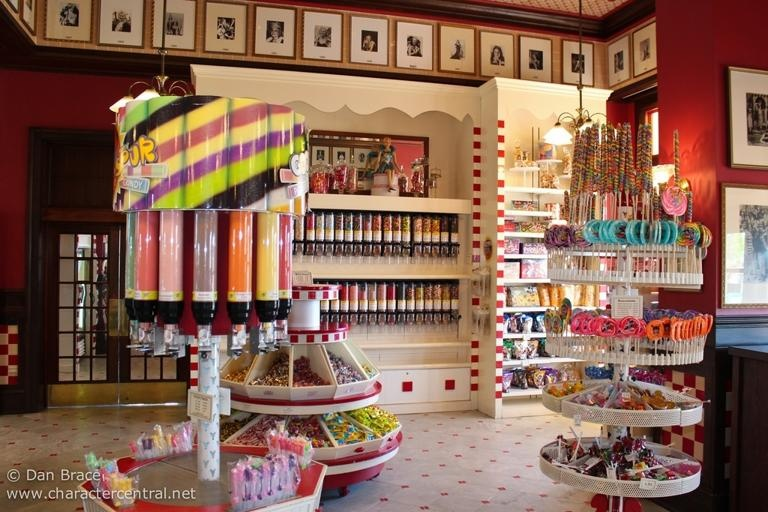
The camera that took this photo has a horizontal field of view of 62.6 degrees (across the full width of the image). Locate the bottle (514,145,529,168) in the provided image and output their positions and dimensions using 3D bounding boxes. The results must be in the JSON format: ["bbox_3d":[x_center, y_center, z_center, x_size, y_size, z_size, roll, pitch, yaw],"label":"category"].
[{"bbox_3d":[1.920,-1.371,8.669,0.191,0.287,0.229,1,5,6],"label":"bottle"}]

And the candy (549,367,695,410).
[{"bbox_3d":[2.184,1.171,5.594,0.761,0.298,0.747,-1,-2,-4],"label":"candy"}]

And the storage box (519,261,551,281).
[{"bbox_3d":[2.064,0.175,8.547,0.457,0.311,0.246,1,3,-2],"label":"storage box"}]

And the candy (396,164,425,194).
[{"bbox_3d":[0.357,-1.036,8.603,0.469,0.458,0.314,2,-4,-8],"label":"candy"}]

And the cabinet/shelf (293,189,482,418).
[{"bbox_3d":[0.032,0.565,7.823,3.020,3.252,1.145,0,-3,-13],"label":"cabinet/shelf"}]

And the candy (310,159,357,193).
[{"bbox_3d":[-0.641,-1.044,8.435,0.717,0.414,0.428,-1,5,-18],"label":"candy"}]
